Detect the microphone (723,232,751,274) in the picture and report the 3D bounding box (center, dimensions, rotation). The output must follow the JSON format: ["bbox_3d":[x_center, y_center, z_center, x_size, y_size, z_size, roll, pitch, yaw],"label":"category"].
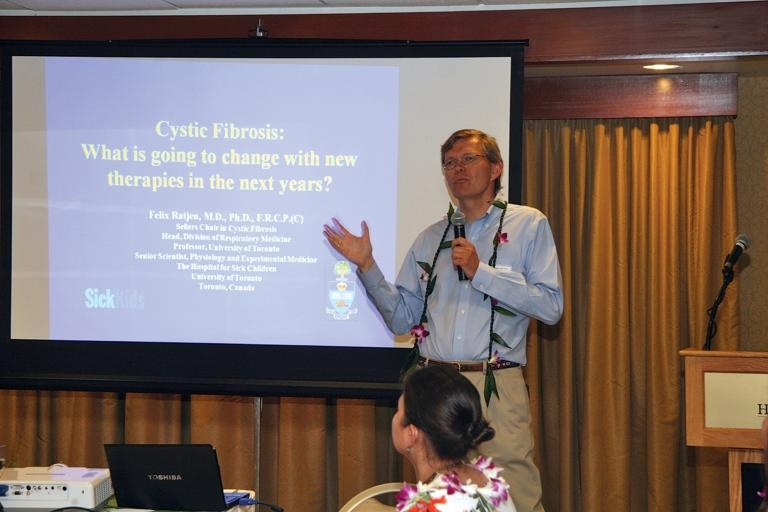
[{"bbox_3d":[2.556,-0.025,6.348,0.153,0.279,0.285,-1,-3,31],"label":"microphone"}]

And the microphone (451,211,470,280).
[{"bbox_3d":[0.476,-0.075,5.565,0.100,0.455,0.259,0,-2,5],"label":"microphone"}]

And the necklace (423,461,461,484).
[{"bbox_3d":[0.275,1.138,4.623,0.111,0.065,0.153,4,-15,-39],"label":"necklace"}]
